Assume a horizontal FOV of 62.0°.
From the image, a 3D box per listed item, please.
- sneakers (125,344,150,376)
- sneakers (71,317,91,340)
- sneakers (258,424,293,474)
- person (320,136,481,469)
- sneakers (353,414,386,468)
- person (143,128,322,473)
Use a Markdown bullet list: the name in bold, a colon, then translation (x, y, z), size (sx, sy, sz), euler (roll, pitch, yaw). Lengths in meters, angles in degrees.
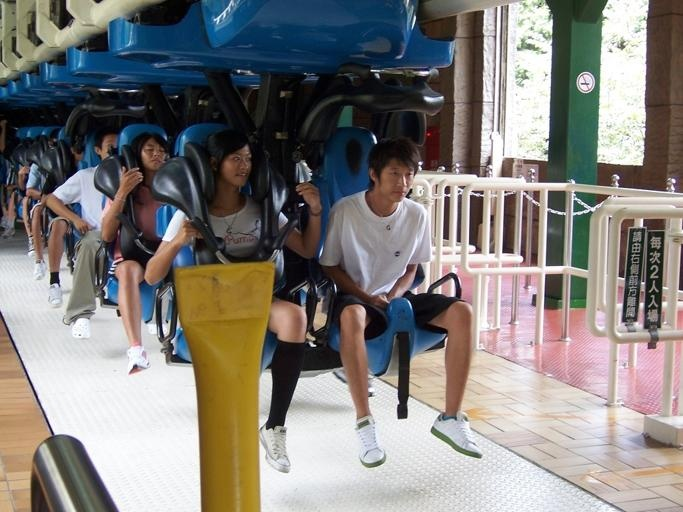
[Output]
- **sneakers**: translation (-1.367, 0.709, 3.859), size (0.110, 0.129, 0.276), euler (-10, -13, -15)
- **sneakers**: translation (-2.260, 0.638, 4.951), size (0.124, 0.140, 0.313), euler (2, 4, -24)
- **sneakers**: translation (-0.335, 0.965, 2.872), size (0.118, 0.181, 0.276), euler (-1, 8, -15)
- **person**: translation (0.297, 0.186, 2.996), size (0.720, 1.600, 0.726), euler (-1, 8, -15)
- **sneakers**: translation (0.139, 0.915, 2.769), size (0.101, 0.123, 0.279), euler (-17, 6, -2)
- **person**: translation (-0.544, 0.205, 3.038), size (0.837, 1.739, 0.623), euler (3, 8, 15)
